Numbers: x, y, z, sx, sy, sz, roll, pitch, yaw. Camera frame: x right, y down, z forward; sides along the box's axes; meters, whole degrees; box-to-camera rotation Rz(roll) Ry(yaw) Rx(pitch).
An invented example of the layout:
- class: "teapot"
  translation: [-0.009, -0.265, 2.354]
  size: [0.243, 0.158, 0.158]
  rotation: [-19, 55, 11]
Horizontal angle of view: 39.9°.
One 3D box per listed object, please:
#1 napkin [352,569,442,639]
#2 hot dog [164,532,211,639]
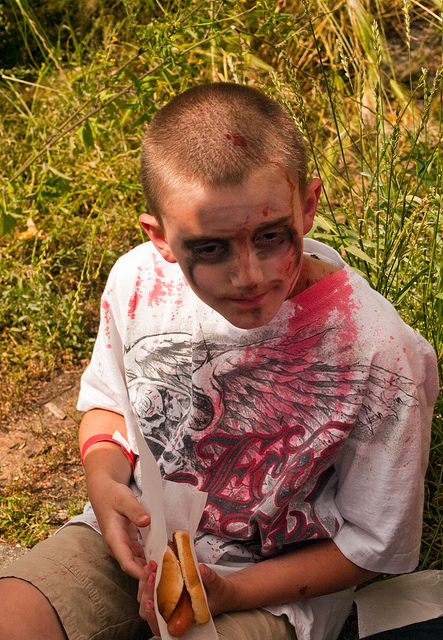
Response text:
- class: "napkin"
  translation: [0.435, 0.679, 1.486]
  size: [0.254, 0.133, 0.140]
  rotation: [-13, 47, -2]
- class: "hot dog"
  translation: [-0.050, 0.542, 1.223]
  size: [0.062, 0.088, 0.164]
  rotation: [21, 47, -21]
